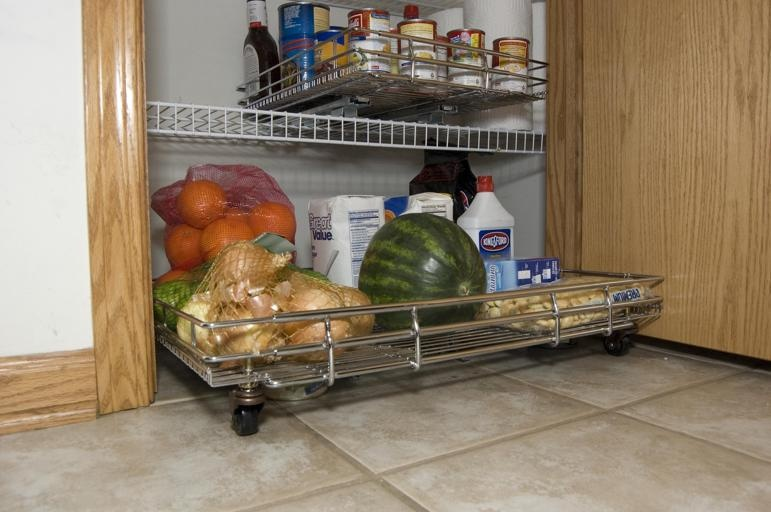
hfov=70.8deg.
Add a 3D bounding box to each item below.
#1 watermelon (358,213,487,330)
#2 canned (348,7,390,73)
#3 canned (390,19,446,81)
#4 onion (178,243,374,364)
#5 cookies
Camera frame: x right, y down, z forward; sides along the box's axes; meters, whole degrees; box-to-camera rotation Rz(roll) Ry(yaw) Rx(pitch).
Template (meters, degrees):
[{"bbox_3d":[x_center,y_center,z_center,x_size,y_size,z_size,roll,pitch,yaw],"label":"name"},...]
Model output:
[{"bbox_3d":[0.052,0.002,1.174,0.275,0.225,0.265,-3,12,-28],"label":"watermelon"},{"bbox_3d":[-0.039,-0.504,1.268,0.102,0.158,0.144,0,7,-1],"label":"canned"},{"bbox_3d":[0.072,-0.492,1.350,0.126,0.148,0.129,-6,16,-35],"label":"canned"},{"bbox_3d":[-0.206,0.060,1.001,0.315,0.215,0.296,8,9,-4],"label":"onion"},{"bbox_3d":[0.362,0.074,1.242,0.308,0.107,0.319,-2,5,-26],"label":"cookies"}]
